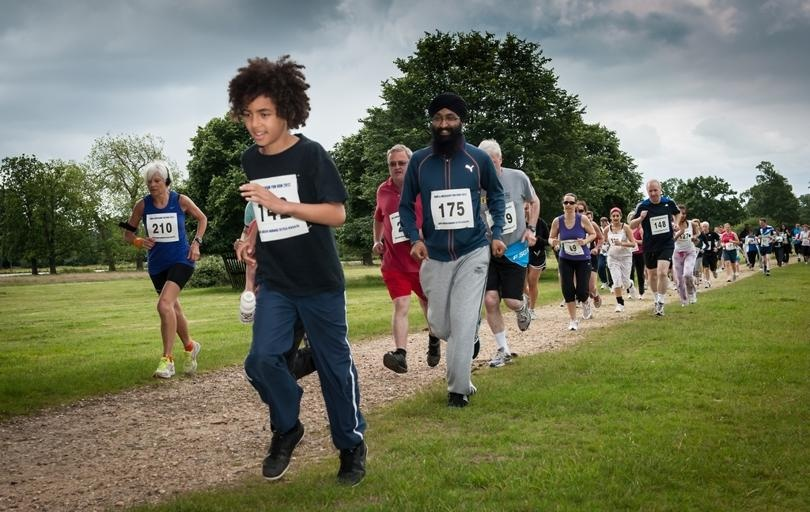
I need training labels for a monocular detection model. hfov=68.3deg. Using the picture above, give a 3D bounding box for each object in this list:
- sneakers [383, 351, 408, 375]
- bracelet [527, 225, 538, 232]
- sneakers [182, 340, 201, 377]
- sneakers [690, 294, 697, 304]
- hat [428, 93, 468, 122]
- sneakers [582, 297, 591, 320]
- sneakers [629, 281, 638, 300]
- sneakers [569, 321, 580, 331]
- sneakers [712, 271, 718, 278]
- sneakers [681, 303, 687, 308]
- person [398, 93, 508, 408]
[{"bbox_3d":[-0.128,1.531,8.690,0.221,0.222,0.465,6,-28,24],"label":"sneakers"},{"bbox_3d":[2.100,-0.505,9.949,0.148,0.094,0.172,12,-7,-11],"label":"bracelet"},{"bbox_3d":[-3.575,1.701,9.909,0.195,0.563,0.247,-4,-12,22],"label":"sneakers"},{"bbox_3d":[7.341,1.071,15.201,0.166,0.208,0.068,-3,-28,-7],"label":"sneakers"},{"bbox_3d":[0.563,-2.025,8.024,0.443,0.409,0.398,0,9,20],"label":"hat"},{"bbox_3d":[4.199,1.213,13.871,0.214,0.578,0.234,-17,-40,43],"label":"sneakers"},{"bbox_3d":[7.124,1.057,18.635,0.257,0.577,0.197,-19,6,-15],"label":"sneakers"},{"bbox_3d":[3.523,1.422,12.510,0.190,0.207,0.312,-1,9,12],"label":"sneakers"},{"bbox_3d":[13.481,0.753,25.964,0.202,0.296,0.302,-3,36,24],"label":"sneakers"},{"bbox_3d":[6.813,1.157,14.539,0.143,0.117,0.300,0,9,20],"label":"sneakers"},{"bbox_3d":[0.624,-0.102,7.949,1.374,4.130,0.764,-2,9,7],"label":"person"}]
